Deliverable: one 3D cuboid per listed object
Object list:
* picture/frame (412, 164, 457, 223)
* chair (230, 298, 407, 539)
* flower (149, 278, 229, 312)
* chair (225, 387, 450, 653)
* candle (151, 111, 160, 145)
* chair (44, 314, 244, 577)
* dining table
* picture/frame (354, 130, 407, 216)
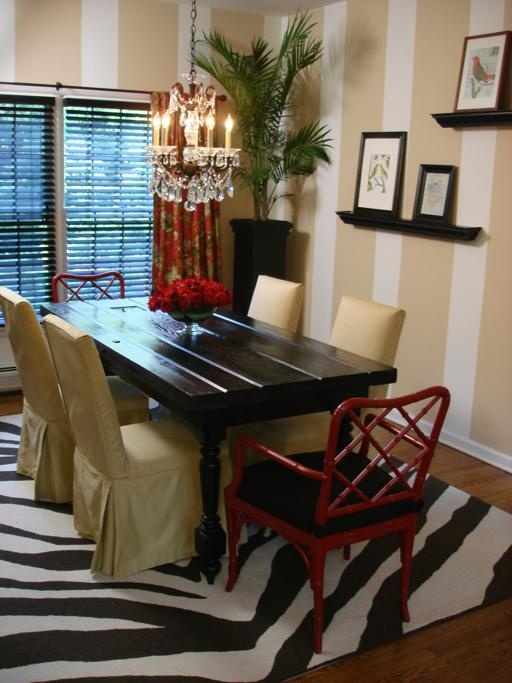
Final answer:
[{"bbox_3d":[1.044,-0.849,3.142,0.041,0.404,0.317,0,10,-29],"label":"picture/frame"},{"bbox_3d":[0.134,0.214,2.974,0.905,1.513,0.825,-1,7,-27],"label":"chair"},{"bbox_3d":[-0.280,-0.196,2.411,0.200,0.095,0.214,-1,5,22],"label":"flower"},{"bbox_3d":[0.214,0.438,1.587,0.473,0.776,0.535,-5,14,-22],"label":"chair"},{"bbox_3d":[-0.413,-0.879,2.274,0.029,0.151,0.110,1,4,-12],"label":"candle"},{"bbox_3d":[-0.458,0.146,2.337,0.756,1.264,0.814,-10,21,-28],"label":"chair"},{"bbox_3d":[-0.193,0.412,2.133,0.922,0.677,1.398,-11,23,-30],"label":"dining table"},{"bbox_3d":[0.828,-1.094,3.561,0.039,0.634,0.497,-6,17,-29],"label":"picture/frame"}]
